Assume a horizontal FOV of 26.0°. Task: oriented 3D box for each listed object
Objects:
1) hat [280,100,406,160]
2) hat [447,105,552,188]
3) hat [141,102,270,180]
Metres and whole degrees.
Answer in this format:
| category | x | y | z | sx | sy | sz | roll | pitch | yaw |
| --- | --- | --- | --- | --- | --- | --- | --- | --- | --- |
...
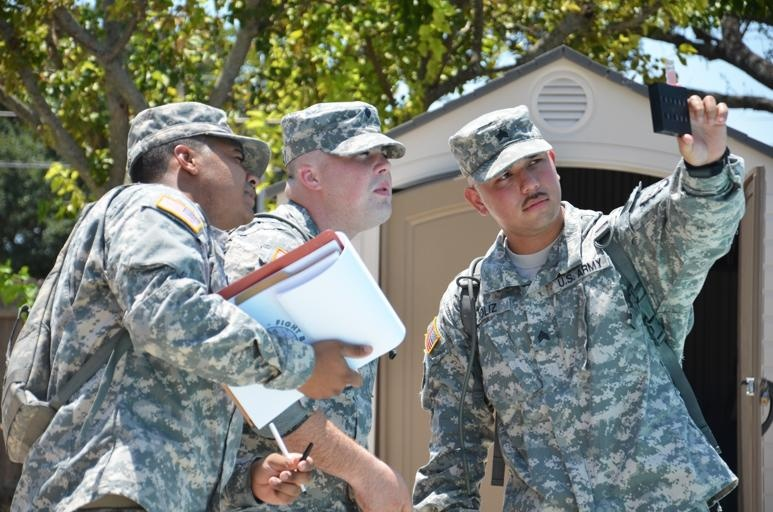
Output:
| category | x | y | z | sx | sy | sz | roll | pitch | yaw |
| --- | --- | --- | --- | --- | --- | --- | --- | --- | --- |
| hat | -0.297 | -0.886 | 11.939 | 0.935 | 0.436 | 0.678 | -1 | 2 | 32 |
| hat | 0.846 | -0.876 | 12.103 | 0.768 | 0.357 | 1.070 | -26 | 14 | -10 |
| hat | -1.301 | -0.866 | 11.378 | 0.869 | 0.363 | 0.624 | -7 | -9 | -9 |
